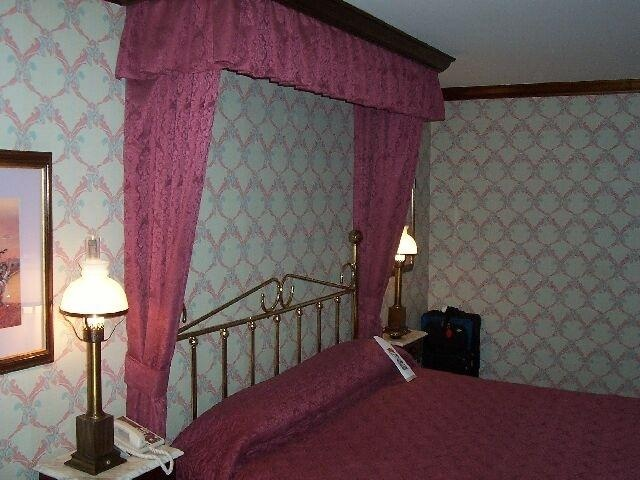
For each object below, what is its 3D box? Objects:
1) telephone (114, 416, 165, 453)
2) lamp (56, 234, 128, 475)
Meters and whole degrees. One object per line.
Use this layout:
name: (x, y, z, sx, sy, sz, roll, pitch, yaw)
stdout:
telephone: (-0.832, 0.881, 2.252, 0.173, 0.054, 0.126, 24, 7, 17)
lamp: (-0.983, 0.494, 2.162, 0.306, 0.960, 0.260, 9, 11, 37)
